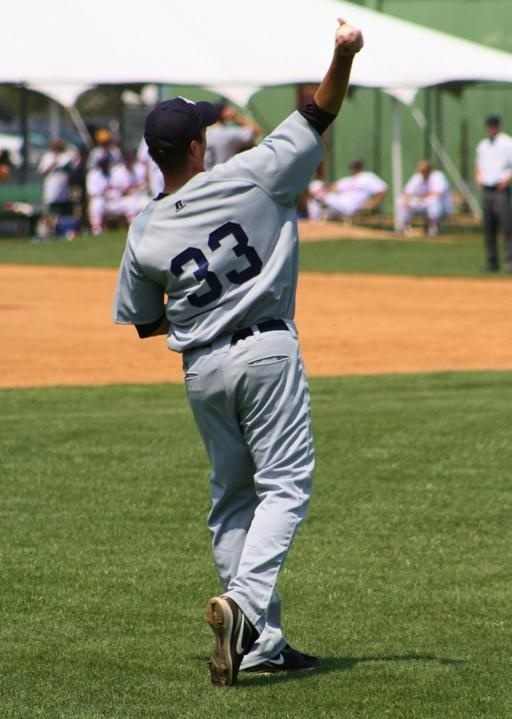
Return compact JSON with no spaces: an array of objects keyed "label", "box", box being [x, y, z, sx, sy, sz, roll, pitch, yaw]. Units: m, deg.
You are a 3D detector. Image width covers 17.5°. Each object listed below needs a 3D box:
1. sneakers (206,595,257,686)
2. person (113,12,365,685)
[{"label":"sneakers","box":[-0.072,0.706,4.216,0.084,0.281,0.114,-4,24,6]},{"label":"person","box":[-0.056,-0.018,4.463,0.461,1.664,0.580,-5,9,-32]}]
